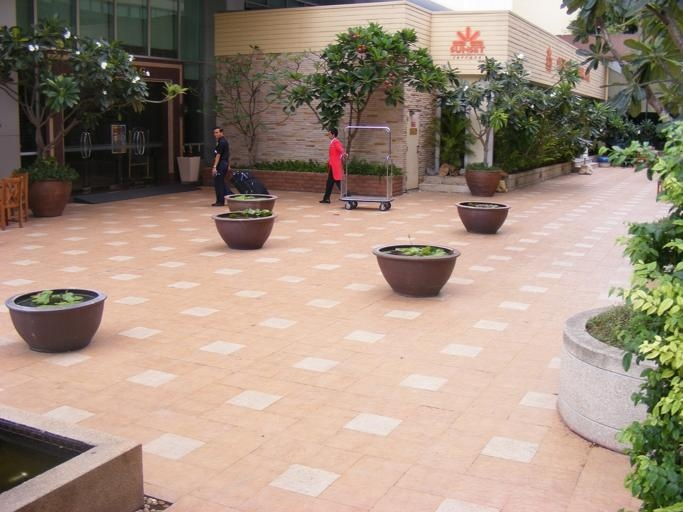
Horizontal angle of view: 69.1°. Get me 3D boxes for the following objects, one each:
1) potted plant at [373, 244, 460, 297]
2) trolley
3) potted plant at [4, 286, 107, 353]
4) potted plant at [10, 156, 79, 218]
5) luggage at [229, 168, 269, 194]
[{"bbox_3d":[1.187,0.144,8.183,1.329,0.466,1.232,-9,-7,34],"label":"potted plant"},{"bbox_3d":[0.838,-3.160,18.456,2.407,2.673,1.369,2,17,15],"label":"trolley"},{"bbox_3d":[-3.327,0.775,5.788,1.042,0.385,1.027,-7,11,-44],"label":"potted plant"},{"bbox_3d":[-9.616,-2.029,15.327,2.361,1.551,1.944,-1,4,-14],"label":"potted plant"},{"bbox_3d":[-3.103,-2.397,16.407,0.945,0.762,0.985,-5,14,-19],"label":"luggage"}]
